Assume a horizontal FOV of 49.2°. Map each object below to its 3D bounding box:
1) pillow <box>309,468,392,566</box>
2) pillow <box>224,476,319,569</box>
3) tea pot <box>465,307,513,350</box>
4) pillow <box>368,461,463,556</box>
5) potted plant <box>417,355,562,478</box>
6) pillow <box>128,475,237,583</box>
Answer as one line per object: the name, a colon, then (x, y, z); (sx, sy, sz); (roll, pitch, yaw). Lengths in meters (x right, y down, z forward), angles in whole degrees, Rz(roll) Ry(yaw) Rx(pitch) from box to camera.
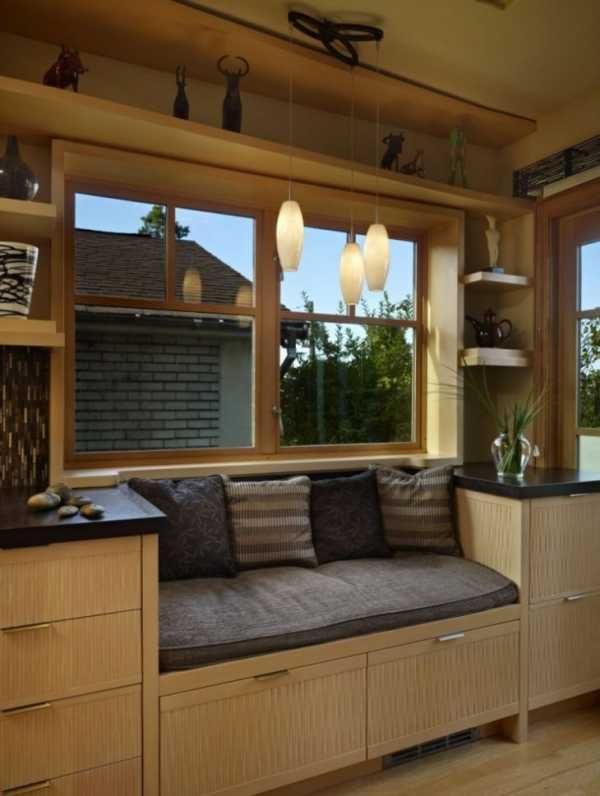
pillow: (0.196, 0.490, 2.709); (0.328, 0.364, 0.216); (-1, 0, -14)
pillow: (-0.116, 0.488, 2.502); (0.333, 0.332, 0.121); (3, -23, -26)
tea pot: (0.928, -0.349, 3.276); (0.283, 0.215, 0.164); (1, -8, -14)
pillow: (0.484, 0.483, 2.753); (0.361, 0.346, 0.127); (-1, -14, 1)
potted plant: (0.943, 0.079, 3.036); (0.539, 0.475, 0.529); (1, -1, -32)
pillow: (-0.390, 0.448, 2.178); (0.320, 0.340, 0.132); (6, -34, -31)
